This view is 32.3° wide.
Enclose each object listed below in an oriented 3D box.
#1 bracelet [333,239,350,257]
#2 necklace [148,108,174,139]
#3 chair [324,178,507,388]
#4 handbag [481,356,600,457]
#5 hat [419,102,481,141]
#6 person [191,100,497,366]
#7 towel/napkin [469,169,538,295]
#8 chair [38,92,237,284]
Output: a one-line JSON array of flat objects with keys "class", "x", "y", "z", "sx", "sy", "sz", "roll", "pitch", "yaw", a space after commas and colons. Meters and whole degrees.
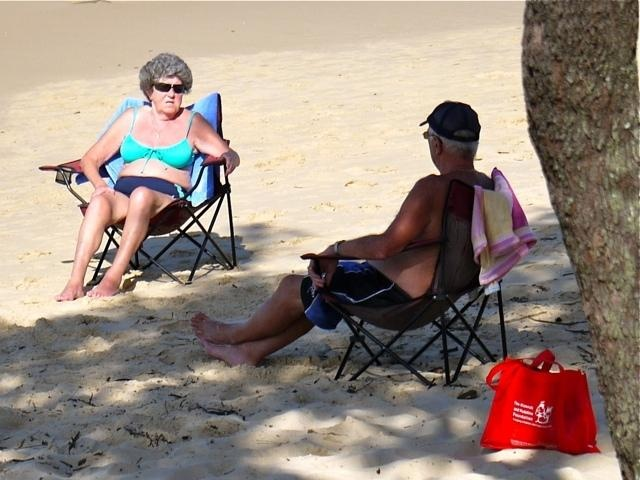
[{"class": "bracelet", "x": 0.113, "y": 0.053, "z": 6.671, "sx": 0.071, "sy": 0.098, "sz": 0.107, "roll": 17, "pitch": -10, "yaw": 38}, {"class": "necklace", "x": -1.255, "y": -0.915, "z": 8.733, "sx": 0.242, "sy": 0.198, "sz": 0.116, "roll": 5, "pitch": -1, "yaw": 1}, {"class": "chair", "x": 0.526, "y": 0.294, "z": 6.854, "sx": 1.107, "sy": 1.086, "sz": 1.128, "roll": -5, "pitch": 3, "yaw": 44}, {"class": "handbag", "x": 1.202, "y": 0.925, "z": 6.001, "sx": 0.697, "sy": 0.509, "sz": 0.297, "roll": 1, "pitch": -3, "yaw": 23}, {"class": "hat", "x": 0.775, "y": -0.699, "z": 6.573, "sx": 0.252, "sy": 0.168, "sz": 0.313, "roll": -5, "pitch": 26, "yaw": -24}, {"class": "person", "x": 0.105, "y": 0.062, "z": 7.004, "sx": 2.446, "sy": 1.397, "sz": 0.938, "roll": -10, "pitch": 7, "yaw": 27}, {"class": "towel/napkin", "x": 1.093, "y": -0.027, "z": 6.525, "sx": 0.342, "sy": 0.639, "sz": 0.485, "roll": 2, "pitch": 25, "yaw": 19}, {"class": "chair", "x": -1.317, "y": -0.413, "z": 8.850, "sx": 1.408, "sy": 1.267, "sz": 1.062, "roll": 1, "pitch": 15, "yaw": 17}]
